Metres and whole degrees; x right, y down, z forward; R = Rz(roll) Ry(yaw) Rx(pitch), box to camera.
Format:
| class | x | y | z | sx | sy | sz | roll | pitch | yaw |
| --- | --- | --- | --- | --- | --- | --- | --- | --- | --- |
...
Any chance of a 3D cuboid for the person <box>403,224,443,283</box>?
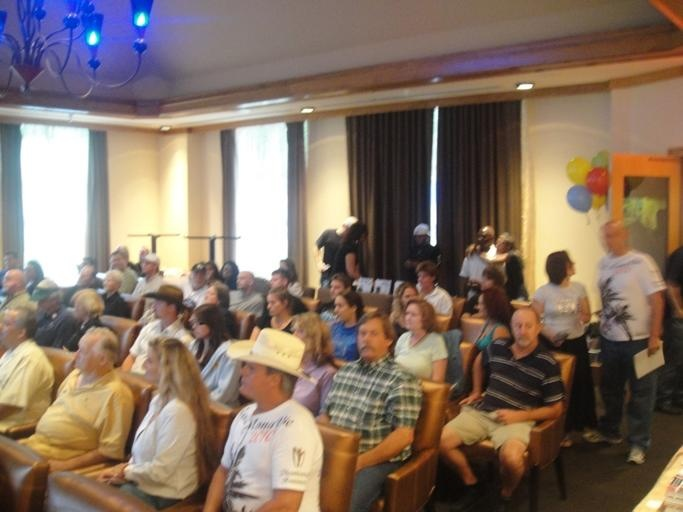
| class | x | y | z | sx | sy | sz | roll | pitch | yaw |
| --- | --- | --- | --- | --- | --- | --- | --- | --- | --- |
| person | 0.964 | -0.007 | 6.875 | 0.427 | 0.301 | 0.853 | -15 | 21 | 36 |

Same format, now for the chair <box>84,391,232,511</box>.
| class | x | y | z | sx | sy | sz | roll | pitch | yaw |
| --- | --- | --- | --- | --- | --- | --- | --- | --- | --- |
| chair | -0.906 | 1.020 | 2.960 | 0.423 | 0.536 | 0.347 | 18 | -13 | -37 |

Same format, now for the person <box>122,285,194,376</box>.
| class | x | y | z | sx | sy | sz | roll | pitch | yaw |
| --- | --- | --- | --- | --- | --- | --- | --- | --- | --- |
| person | -1.438 | 0.588 | 4.270 | 0.552 | 0.806 | 0.594 | 8 | -4 | -44 |

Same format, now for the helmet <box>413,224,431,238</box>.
| class | x | y | z | sx | sy | sz | roll | pitch | yaw |
| --- | --- | --- | --- | --- | --- | --- | --- | --- | --- |
| helmet | 1.012 | -0.326 | 6.860 | 0.136 | 0.194 | 0.158 | 10 | 15 | 43 |

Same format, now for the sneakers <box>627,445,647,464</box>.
| class | x | y | z | sx | sy | sz | roll | pitch | yaw |
| --- | --- | --- | --- | --- | --- | --- | --- | --- | --- |
| sneakers | 2.252 | 1.517 | 4.166 | 0.158 | 0.116 | 0.085 | -2 | 3 | 6 |

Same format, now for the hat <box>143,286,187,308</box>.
| class | x | y | z | sx | sy | sz | roll | pitch | yaw |
| --- | --- | --- | --- | --- | --- | --- | --- | --- | --- |
| hat | -1.436 | 0.390 | 4.494 | 0.289 | 0.111 | 0.249 | 21 | -12 | -37 |

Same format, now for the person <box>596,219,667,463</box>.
| class | x | y | z | sx | sy | sz | roll | pitch | yaw |
| --- | --- | --- | --- | --- | --- | --- | --- | --- | --- |
| person | 2.213 | 0.646 | 4.260 | 0.293 | 1.845 | 0.474 | -4 | 3 | -35 |

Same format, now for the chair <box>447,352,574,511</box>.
| class | x | y | z | sx | sy | sz | roll | pitch | yaw |
| --- | --- | --- | --- | --- | --- | --- | --- | --- | --- |
| chair | 1.279 | 1.177 | 3.735 | 0.808 | 0.994 | 0.451 | -4 | 4 | -44 |

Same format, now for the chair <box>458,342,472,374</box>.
| class | x | y | z | sx | sy | sz | roll | pitch | yaw |
| --- | --- | --- | --- | --- | --- | --- | --- | --- | --- |
| chair | 0.917 | 0.749 | 4.036 | 0.136 | 0.284 | 0.156 | 1 | -1 | 12 |

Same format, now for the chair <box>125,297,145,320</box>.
| class | x | y | z | sx | sy | sz | roll | pitch | yaw |
| --- | --- | --- | --- | --- | --- | --- | --- | --- | --- |
| chair | -2.188 | 0.562 | 5.891 | 0.174 | 0.275 | 0.210 | -3 | -10 | 21 |

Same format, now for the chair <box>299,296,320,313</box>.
| class | x | y | z | sx | sy | sz | roll | pitch | yaw |
| --- | --- | --- | --- | --- | --- | --- | --- | --- | --- |
| chair | -0.342 | 0.451 | 5.879 | 0.220 | 0.237 | 0.124 | 13 | 21 | 25 |

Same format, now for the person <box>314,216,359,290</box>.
| class | x | y | z | sx | sy | sz | roll | pitch | yaw |
| --- | --- | --- | --- | --- | --- | --- | --- | --- | --- |
| person | -0.050 | -0.079 | 7.078 | 0.388 | 0.254 | 0.970 | 22 | 41 | -14 |

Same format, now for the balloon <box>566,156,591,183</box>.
| class | x | y | z | sx | sy | sz | roll | pitch | yaw |
| --- | --- | --- | --- | --- | --- | --- | --- | --- | --- |
| balloon | 2.759 | -0.981 | 6.469 | 0.217 | 0.311 | 0.236 | 19 | 0 | 2 |

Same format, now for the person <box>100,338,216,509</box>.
| class | x | y | z | sx | sy | sz | roll | pitch | yaw |
| --- | --- | --- | --- | --- | --- | --- | --- | --- | --- |
| person | -0.955 | 0.923 | 3.266 | 0.726 | 1.046 | 0.689 | 5 | -5 | -20 |

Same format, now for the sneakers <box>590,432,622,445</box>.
| class | x | y | z | sx | sy | sz | roll | pitch | yaw |
| --- | --- | --- | --- | --- | --- | --- | --- | --- | --- |
| sneakers | 2.132 | 1.489 | 4.466 | 0.260 | 0.134 | 0.102 | -3 | 0 | 7 |

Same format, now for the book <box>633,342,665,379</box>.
| class | x | y | z | sx | sy | sz | roll | pitch | yaw |
| --- | --- | --- | --- | --- | --- | --- | --- | --- | --- |
| book | 2.311 | 0.806 | 4.116 | 0.194 | 0.250 | 0.153 | -1 | 3 | 29 |

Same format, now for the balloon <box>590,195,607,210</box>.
| class | x | y | z | sx | sy | sz | roll | pitch | yaw |
| --- | --- | --- | --- | --- | --- | --- | --- | --- | --- |
| balloon | 2.979 | -0.621 | 6.334 | 0.138 | 0.157 | 0.143 | -2 | 14 | -1 |

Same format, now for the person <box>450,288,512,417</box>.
| class | x | y | z | sx | sy | sz | roll | pitch | yaw |
| --- | --- | --- | --- | --- | --- | --- | --- | --- | --- |
| person | 1.159 | 0.779 | 4.378 | 0.331 | 1.154 | 0.335 | 11 | 31 | 29 |

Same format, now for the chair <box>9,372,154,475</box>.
| class | x | y | z | sx | sy | sz | roll | pitch | yaw |
| --- | --- | --- | --- | --- | --- | --- | --- | --- | --- |
| chair | -1.641 | 1.013 | 3.492 | 0.598 | 0.800 | 0.660 | 19 | -5 | -39 |

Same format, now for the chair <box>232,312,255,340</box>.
| class | x | y | z | sx | sy | sz | roll | pitch | yaw |
| --- | --- | --- | --- | --- | --- | --- | --- | --- | --- |
| chair | -0.910 | 0.655 | 5.053 | 0.184 | 0.215 | 0.198 | 1 | -1 | 23 |

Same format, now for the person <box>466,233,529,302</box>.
| class | x | y | z | sx | sy | sz | roll | pitch | yaw |
| --- | --- | --- | --- | --- | --- | --- | --- | --- | --- |
| person | 1.926 | 0.231 | 6.500 | 0.608 | 1.010 | 0.463 | -5 | 17 | 11 |
